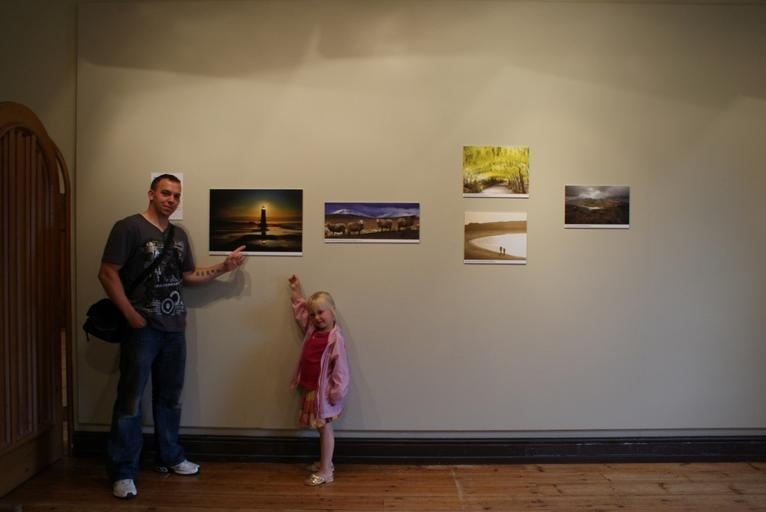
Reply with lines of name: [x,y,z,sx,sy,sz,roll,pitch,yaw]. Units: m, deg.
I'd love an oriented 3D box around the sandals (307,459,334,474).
sandals: [-0.532,1.707,4.695,0.224,0.096,0.088,4,-3,-8]

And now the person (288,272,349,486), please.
person: [-0.549,0.987,4.680,0.350,1.531,0.576,-2,9,-24]

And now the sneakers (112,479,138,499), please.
sneakers: [-2.007,1.761,4.391,0.164,0.121,0.120,-2,10,-24]

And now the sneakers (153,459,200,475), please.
sneakers: [-1.679,1.699,4.618,0.260,0.105,0.136,0,-4,-8]

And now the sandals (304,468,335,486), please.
sandals: [-0.519,1.734,4.539,0.156,0.066,0.105,3,-5,-21]

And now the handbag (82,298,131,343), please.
handbag: [-2.169,0.491,4.628,0.376,0.360,0.269,11,4,0]

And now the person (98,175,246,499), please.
person: [-1.789,0.587,4.530,0.840,2.410,0.509,-2,10,-27]
